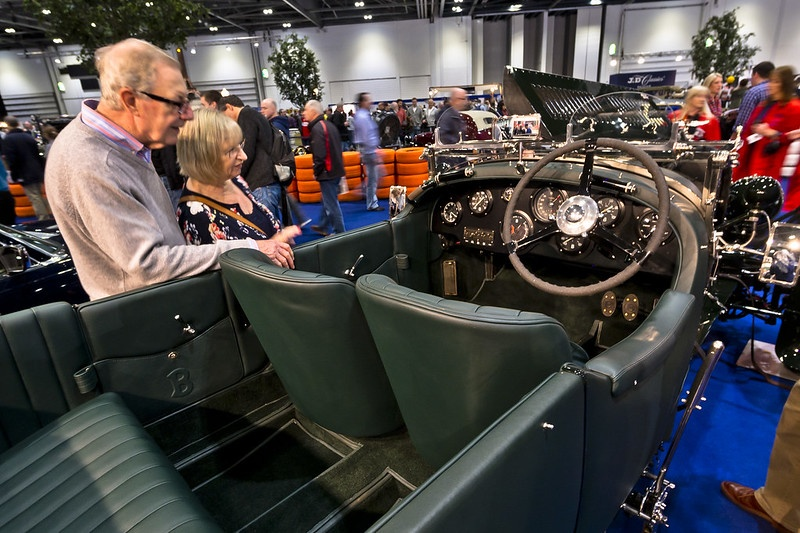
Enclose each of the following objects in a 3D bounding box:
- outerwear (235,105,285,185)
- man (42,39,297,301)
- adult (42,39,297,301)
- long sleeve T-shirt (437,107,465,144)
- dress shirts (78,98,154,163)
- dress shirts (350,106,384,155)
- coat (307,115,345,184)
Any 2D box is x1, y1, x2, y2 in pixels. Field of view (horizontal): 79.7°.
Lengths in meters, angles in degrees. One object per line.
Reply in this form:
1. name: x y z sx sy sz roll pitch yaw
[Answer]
1. outerwear: -1.505 -1.440 5.074 0.254 0.509 0.362 -2 37 17
2. man: -1.337 -0.424 2.836 1.172 1.543 1.130 1 28 -18
3. adult: -1.340 -0.405 2.861 1.186 1.597 1.148 -3 27 -21
4. long sleeve T-shirt: 0.723 -2.008 6.766 0.384 0.485 0.448 0 21 7
5. dress shirts: -1.461 -0.766 2.550 0.127 0.320 0.259 -52 46 -5
6. dress shirts: -0.562 -2.176 7.595 0.340 0.651 0.593 -10 33 -5
7. coat: -0.955 -1.557 6.259 0.385 0.787 0.577 2 23 13
